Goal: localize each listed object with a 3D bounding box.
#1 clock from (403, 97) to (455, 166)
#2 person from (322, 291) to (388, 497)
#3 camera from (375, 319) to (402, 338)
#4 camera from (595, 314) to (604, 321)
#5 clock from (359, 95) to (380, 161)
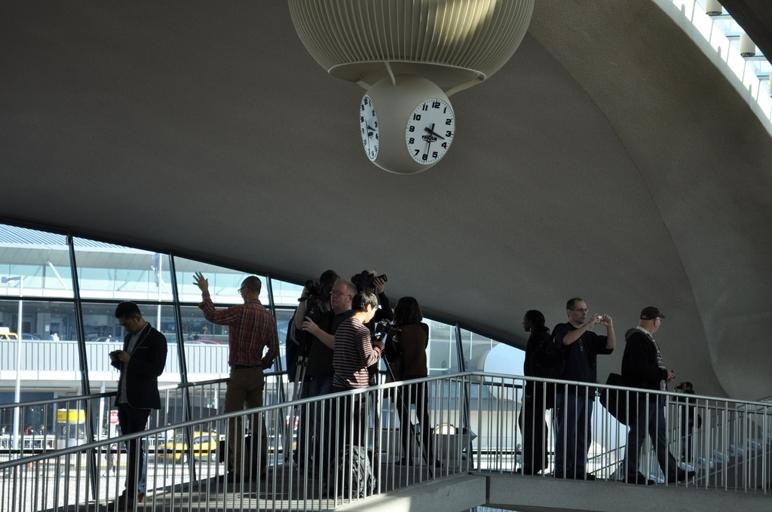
[{"bbox_3d":[0.581,-1.682,9.750,0.648,0.693,0.734,-2,-16,2],"label":"clock"},{"bbox_3d":[-0.453,1.947,10.045,0.736,2.663,1.331,0,-15,-6],"label":"person"},{"bbox_3d":[0.012,1.036,10.355,0.257,0.136,0.270,11,-4,-4],"label":"camera"},{"bbox_3d":[3.277,0.957,11.130,0.112,0.051,0.155,-3,-2,3],"label":"camera"},{"bbox_3d":[-0.211,-1.806,9.977,0.237,0.909,0.727,0,-15,-6],"label":"clock"}]
